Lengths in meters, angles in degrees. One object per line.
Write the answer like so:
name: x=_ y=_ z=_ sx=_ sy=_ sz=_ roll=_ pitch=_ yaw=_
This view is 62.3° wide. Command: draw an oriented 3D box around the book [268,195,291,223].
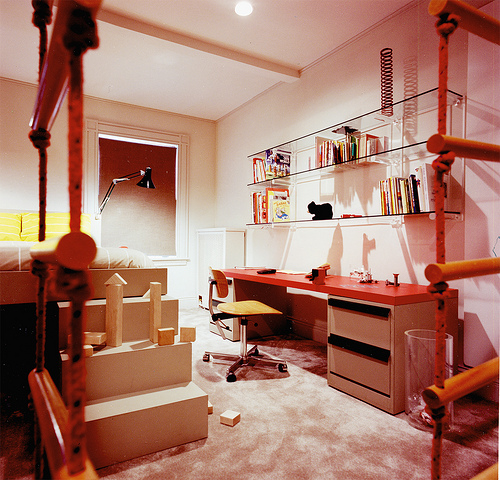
book: x=0.272 y=-0.303 z=4.091 sx=0.057 sy=0.269 sz=0.234 roll=4 pitch=4 yaw=42

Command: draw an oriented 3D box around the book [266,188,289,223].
book: x=0.256 y=-0.328 z=4.065 sx=0.369 sy=0.397 sz=0.058 roll=1 pitch=-1 yaw=-39

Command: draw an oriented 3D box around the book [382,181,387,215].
book: x=0.928 y=-0.290 z=2.870 sx=0.016 sy=0.227 sz=0.046 roll=-1 pitch=4 yaw=-29

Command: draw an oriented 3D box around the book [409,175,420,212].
book: x=1.052 y=-0.298 z=2.662 sx=0.043 sy=0.176 sz=0.181 roll=1 pitch=1 yaw=15

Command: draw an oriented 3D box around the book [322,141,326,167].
book: x=0.589 y=-0.686 z=3.359 sx=0.012 sy=0.194 sz=0.039 roll=0 pitch=3 yaw=-13

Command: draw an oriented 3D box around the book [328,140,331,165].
book: x=0.629 y=-0.692 z=3.300 sx=0.022 sy=0.191 sz=0.064 roll=2 pitch=3 yaw=10

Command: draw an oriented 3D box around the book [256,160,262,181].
book: x=0.093 y=-0.717 z=4.231 sx=0.042 sy=0.290 sz=0.228 roll=-3 pitch=2 yaw=-7

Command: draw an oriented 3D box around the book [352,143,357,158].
book: x=0.791 y=-0.686 z=3.163 sx=0.032 sy=0.113 sz=0.044 roll=3 pitch=4 yaw=27

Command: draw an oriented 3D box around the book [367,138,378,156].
book: x=0.916 y=-0.674 z=3.111 sx=0.105 sy=0.139 sz=0.149 roll=1 pitch=4 yaw=17

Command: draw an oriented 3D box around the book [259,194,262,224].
book: x=0.100 y=-0.303 z=4.127 sx=0.023 sy=0.283 sz=0.072 roll=0 pitch=3 yaw=-18

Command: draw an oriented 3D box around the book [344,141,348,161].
book: x=0.735 y=-0.682 z=3.189 sx=0.019 sy=0.147 sz=0.037 roll=1 pitch=3 yaw=-7

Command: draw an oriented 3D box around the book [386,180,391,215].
book: x=0.945 y=-0.289 z=2.845 sx=0.039 sy=0.160 sz=0.165 roll=0 pitch=-2 yaw=15

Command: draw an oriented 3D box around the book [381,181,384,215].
book: x=0.917 y=-0.295 z=2.885 sx=0.011 sy=0.214 sz=0.028 roll=-1 pitch=4 yaw=-34

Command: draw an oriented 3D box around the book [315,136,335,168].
book: x=0.602 y=-0.702 z=3.356 sx=0.031 sy=0.338 sz=0.300 roll=1 pitch=1 yaw=31

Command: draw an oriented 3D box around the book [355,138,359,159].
book: x=0.815 y=-0.706 z=3.175 sx=0.026 sy=0.167 sz=0.117 roll=2 pitch=3 yaw=11

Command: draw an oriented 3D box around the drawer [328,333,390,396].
drawer: x=0.647 y=0.736 z=2.457 sx=0.235 sy=0.217 sz=0.345 roll=5 pitch=-2 yaw=-30

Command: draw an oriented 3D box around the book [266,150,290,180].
book: x=0.268 y=-0.729 z=4.042 sx=0.291 sy=0.266 sz=0.157 roll=1 pitch=9 yaw=1

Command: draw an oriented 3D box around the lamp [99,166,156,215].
lamp: x=-1.383 y=-0.485 z=4.560 sx=0.665 sy=0.642 sz=0.173 roll=-2 pitch=38 yaw=-20

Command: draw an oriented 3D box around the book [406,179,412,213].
book: x=1.031 y=-0.288 z=2.705 sx=0.037 sy=0.147 sz=0.151 roll=-2 pitch=-6 yaw=18

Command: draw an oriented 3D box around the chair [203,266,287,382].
chair: x=-0.044 y=0.590 z=3.051 sx=0.574 sy=0.725 sz=0.487 roll=2 pitch=1 yaw=-19

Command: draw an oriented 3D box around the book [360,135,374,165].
book: x=0.860 y=-0.664 z=3.126 sx=0.154 sy=0.193 sz=0.207 roll=0 pitch=1 yaw=21

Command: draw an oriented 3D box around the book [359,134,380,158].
book: x=0.895 y=-0.692 z=3.171 sx=0.152 sy=0.187 sz=0.203 roll=4 pitch=5 yaw=43

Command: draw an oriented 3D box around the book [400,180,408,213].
book: x=1.011 y=-0.285 z=2.734 sx=0.011 sy=0.215 sz=0.065 roll=-1 pitch=4 yaw=-32

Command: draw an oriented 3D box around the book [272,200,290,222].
book: x=0.293 y=-0.279 z=4.066 sx=0.229 sy=0.209 sz=0.032 roll=2 pitch=-5 yaw=-35

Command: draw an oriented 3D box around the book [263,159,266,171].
book: x=0.142 y=-0.754 z=4.163 sx=0.019 sy=0.109 sz=0.069 roll=1 pitch=3 yaw=-7
